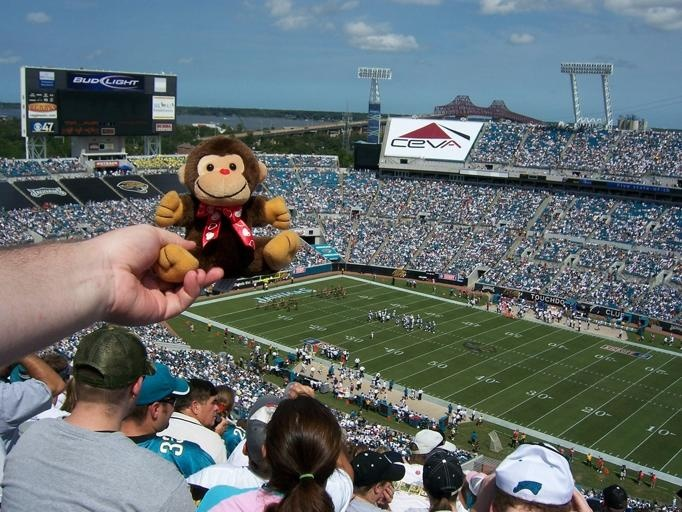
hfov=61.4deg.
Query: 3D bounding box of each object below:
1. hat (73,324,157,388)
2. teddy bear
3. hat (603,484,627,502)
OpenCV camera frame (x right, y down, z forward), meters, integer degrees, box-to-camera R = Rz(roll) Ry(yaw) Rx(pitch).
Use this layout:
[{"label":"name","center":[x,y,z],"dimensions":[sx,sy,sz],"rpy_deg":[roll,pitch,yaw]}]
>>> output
[{"label":"hat","center":[-1.180,0.488,2.977],"dimensions":[0.377,0.226,0.493],"rpy_deg":[11,7,5]},{"label":"teddy bear","center":[-1.538,-0.644,7.794],"dimensions":[2.014,1.690,1.349],"rpy_deg":[-1,17,-18]},{"label":"hat","center":[2.856,2.518,5.990],"dimensions":[0.195,0.095,0.270],"rpy_deg":[11,14,33]}]
